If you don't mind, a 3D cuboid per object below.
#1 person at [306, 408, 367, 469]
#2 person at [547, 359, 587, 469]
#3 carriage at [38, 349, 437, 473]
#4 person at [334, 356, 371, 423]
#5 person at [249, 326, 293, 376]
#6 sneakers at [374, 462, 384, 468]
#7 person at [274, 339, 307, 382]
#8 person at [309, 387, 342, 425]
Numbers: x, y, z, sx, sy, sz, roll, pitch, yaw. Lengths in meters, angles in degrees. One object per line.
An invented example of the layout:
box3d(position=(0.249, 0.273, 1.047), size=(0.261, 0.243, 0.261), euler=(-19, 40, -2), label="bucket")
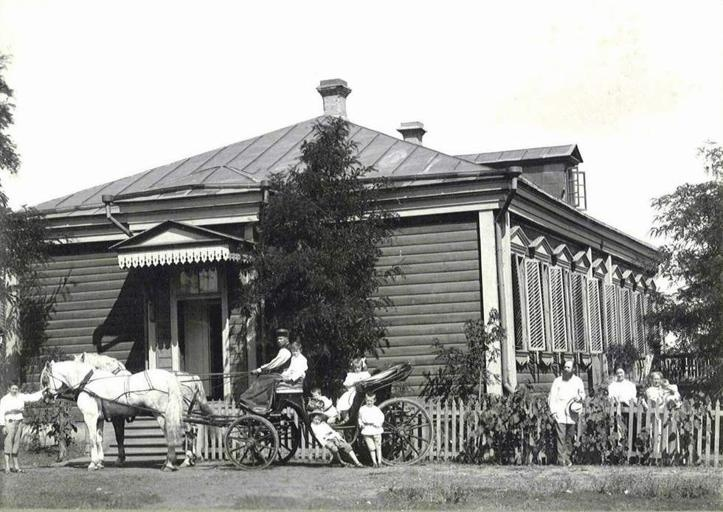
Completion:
box3d(position=(-0.642, 4.281, 32.195), size=(0.698, 1.906, 0.661), euler=(-33, -19, -14), label="person")
box3d(position=(4.796, 3.748, 32.209), size=(0.898, 2.446, 0.658), euler=(-4, -17, 18), label="person")
box3d(position=(-3.016, 3.787, 32.475), size=(8.812, 2.582, 2.013), euler=(1, -17, 1), label="carriage")
box3d(position=(-0.184, 3.227, 32.733), size=(0.634, 1.866, 0.796), euler=(13, -26, 6), label="person")
box3d(position=(-2.066, 2.318, 32.570), size=(0.900, 1.204, 0.926), euler=(-1, -4, 41), label="person")
box3d(position=(0.416, 4.876, 32.087), size=(0.262, 0.125, 0.083), euler=(11, -11, -23), label="sneakers")
box3d(position=(-1.499, 2.475, 31.978), size=(0.729, 1.221, 0.791), euler=(10, -13, -41), label="person")
box3d(position=(-0.995, 3.737, 32.772), size=(0.960, 0.548, 0.337), euler=(-19, 9, 47), label="person")
